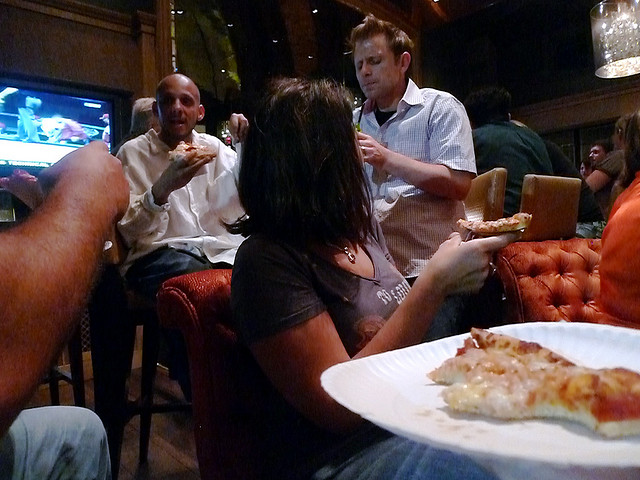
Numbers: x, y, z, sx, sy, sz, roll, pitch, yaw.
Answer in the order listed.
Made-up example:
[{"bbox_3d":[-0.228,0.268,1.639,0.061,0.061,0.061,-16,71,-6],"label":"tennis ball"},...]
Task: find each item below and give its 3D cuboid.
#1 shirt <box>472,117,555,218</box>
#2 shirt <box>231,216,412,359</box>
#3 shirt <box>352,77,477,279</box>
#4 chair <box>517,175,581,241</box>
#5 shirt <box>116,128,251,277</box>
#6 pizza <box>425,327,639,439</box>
[{"bbox_3d":[0.938,-0.342,2.405,0.366,0.432,0.327,1,8,17],"label":"shirt"},{"bbox_3d":[0.028,0.098,1.010,0.205,0.242,0.404,5,11,41],"label":"shirt"},{"bbox_3d":[0.340,-0.195,2.101,0.617,0.904,0.406,-7,-8,34],"label":"shirt"},{"bbox_3d":[0.837,-0.090,1.871,0.287,0.262,0.294,4,5,43],"label":"chair"},{"bbox_3d":[-0.513,-0.122,1.801,0.592,0.441,0.348,10,-6,30],"label":"shirt"},{"bbox_3d":[0.278,0.150,0.639,0.186,0.041,0.111,11,24,41],"label":"pizza"}]
